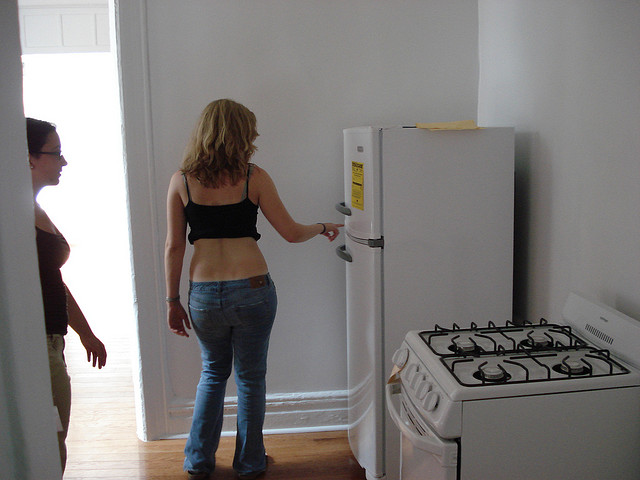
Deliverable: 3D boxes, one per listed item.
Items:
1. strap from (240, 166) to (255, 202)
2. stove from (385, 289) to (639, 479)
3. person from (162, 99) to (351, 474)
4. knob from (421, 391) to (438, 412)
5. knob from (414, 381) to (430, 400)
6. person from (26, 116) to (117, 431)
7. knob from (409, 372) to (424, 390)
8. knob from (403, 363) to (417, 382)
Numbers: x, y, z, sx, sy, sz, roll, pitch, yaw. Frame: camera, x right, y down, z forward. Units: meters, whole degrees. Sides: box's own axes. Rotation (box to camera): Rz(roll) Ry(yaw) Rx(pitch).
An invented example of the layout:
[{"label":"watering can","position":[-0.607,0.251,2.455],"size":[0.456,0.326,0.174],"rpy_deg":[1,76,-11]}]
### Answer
[{"label":"strap","position":[-0.302,-0.220,2.475],"size":[0.025,0.236,0.023],"rpy_deg":[8,2,-41]},{"label":"stove","position":[0.579,0.442,2.019],"size":[0.685,0.574,0.864],"rpy_deg":[1,7,-3]},{"label":"person","position":[-0.372,0.266,2.620],"size":[0.622,1.737,0.298],"rpy_deg":[-2,13,-9]},{"label":"knob","position":[0.319,0.471,1.704],"size":[0.037,0.052,0.057],"rpy_deg":[-5,14,-18]},{"label":"knob","position":[0.305,0.452,1.745],"size":[0.014,0.052,0.035],"rpy_deg":[35,-18,-35]},{"label":"person","position":[-0.824,0.118,1.919],"size":[0.124,1.020,0.289],"rpy_deg":[-2,13,-9]},{"label":"knob","position":[0.294,0.437,1.796],"size":[0.012,0.050,0.034],"rpy_deg":[31,-17,-33]},{"label":"knob","position":[0.287,0.424,1.859],"size":[0.011,0.048,0.034],"rpy_deg":[20,0,-26]}]
